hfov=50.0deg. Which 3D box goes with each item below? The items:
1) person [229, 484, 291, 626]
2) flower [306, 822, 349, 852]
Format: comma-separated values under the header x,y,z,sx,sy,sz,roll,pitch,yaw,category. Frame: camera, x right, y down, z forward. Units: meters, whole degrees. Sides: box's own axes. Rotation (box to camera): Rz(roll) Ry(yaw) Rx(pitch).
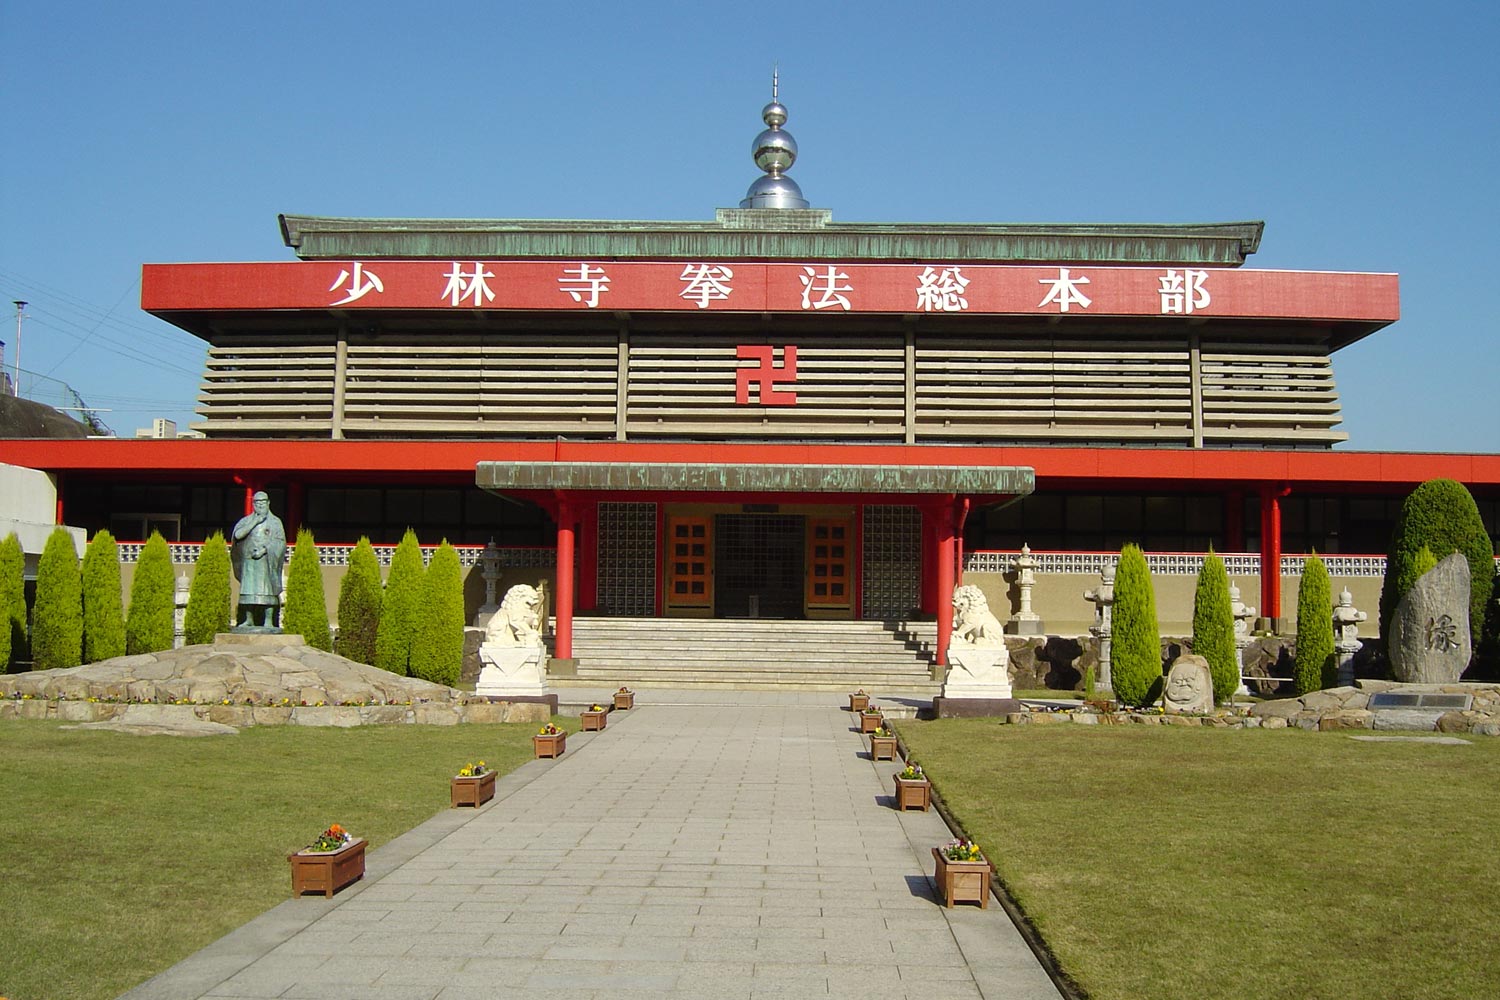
x,y,z,sx,sy,sz,roll,pitch,yaw,category
-8.172,1.017,26.902,0.804,2.164,0.720,-6,12,-26,person
-4.642,3.732,17.918,0.355,0.213,0.517,4,11,24,flower
